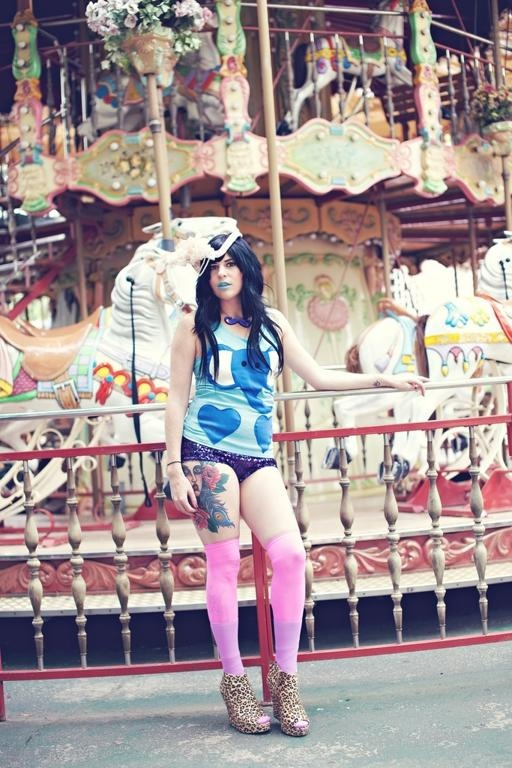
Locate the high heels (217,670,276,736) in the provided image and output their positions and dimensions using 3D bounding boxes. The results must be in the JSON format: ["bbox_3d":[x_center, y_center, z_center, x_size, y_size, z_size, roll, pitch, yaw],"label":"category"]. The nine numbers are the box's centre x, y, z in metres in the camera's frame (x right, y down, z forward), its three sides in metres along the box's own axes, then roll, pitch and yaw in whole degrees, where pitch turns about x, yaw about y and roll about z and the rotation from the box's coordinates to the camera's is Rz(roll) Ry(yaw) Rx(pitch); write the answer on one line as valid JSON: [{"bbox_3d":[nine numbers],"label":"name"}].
[{"bbox_3d":[-0.047,1.224,3.724,0.182,0.180,0.338,0,-5,-19],"label":"high heels"}]

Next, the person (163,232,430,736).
[{"bbox_3d":[-0.093,0.370,3.721,0.473,1.870,0.275,-6,-1,1],"label":"person"}]

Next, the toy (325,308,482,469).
[{"bbox_3d":[1.110,0.035,6.845,1.074,1.184,1.029,2,12,12],"label":"toy"}]
